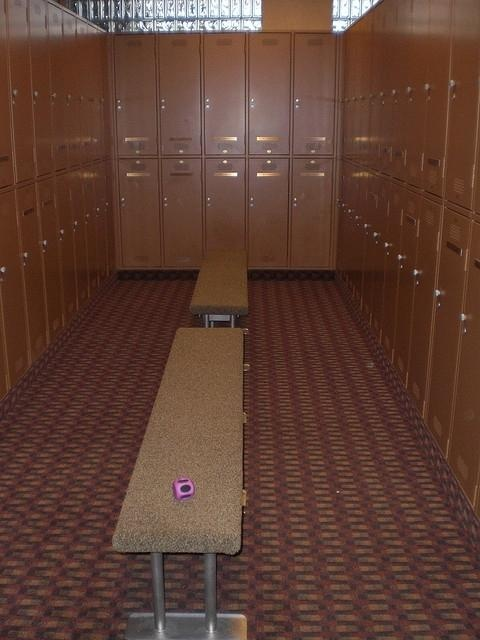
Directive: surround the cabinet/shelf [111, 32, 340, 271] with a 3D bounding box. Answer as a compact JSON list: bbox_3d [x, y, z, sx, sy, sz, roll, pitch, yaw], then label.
[{"bbox_3d":[-0.221,-2.636,7.032,2.843,3.366,1.050,-1,14,-2],"label":"cabinet/shelf"}]
